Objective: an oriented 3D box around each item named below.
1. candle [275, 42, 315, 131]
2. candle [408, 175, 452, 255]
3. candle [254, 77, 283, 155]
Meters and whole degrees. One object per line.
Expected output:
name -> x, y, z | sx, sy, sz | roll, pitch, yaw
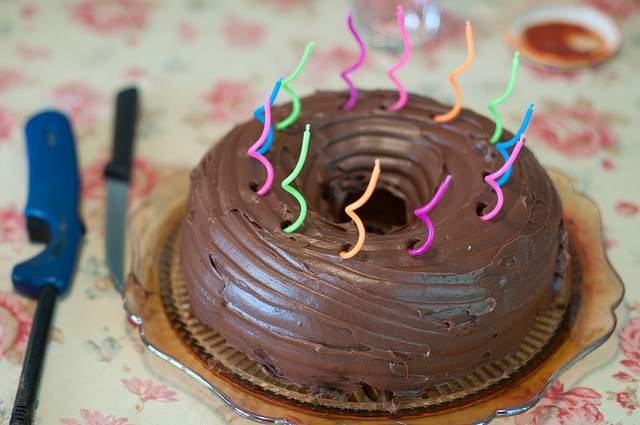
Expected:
candle -> -0.095, -0.468, 2.568 | 0.139, 0.374, 0.130 | 4, 51, 2
candle -> 0.382, -0.003, 2.328 | 0.093, 0.292, 0.332 | 18, 79, 8
candle -> -0.192, -0.364, 2.505 | 0.111, 0.295, 0.102 | 4, 35, 1
